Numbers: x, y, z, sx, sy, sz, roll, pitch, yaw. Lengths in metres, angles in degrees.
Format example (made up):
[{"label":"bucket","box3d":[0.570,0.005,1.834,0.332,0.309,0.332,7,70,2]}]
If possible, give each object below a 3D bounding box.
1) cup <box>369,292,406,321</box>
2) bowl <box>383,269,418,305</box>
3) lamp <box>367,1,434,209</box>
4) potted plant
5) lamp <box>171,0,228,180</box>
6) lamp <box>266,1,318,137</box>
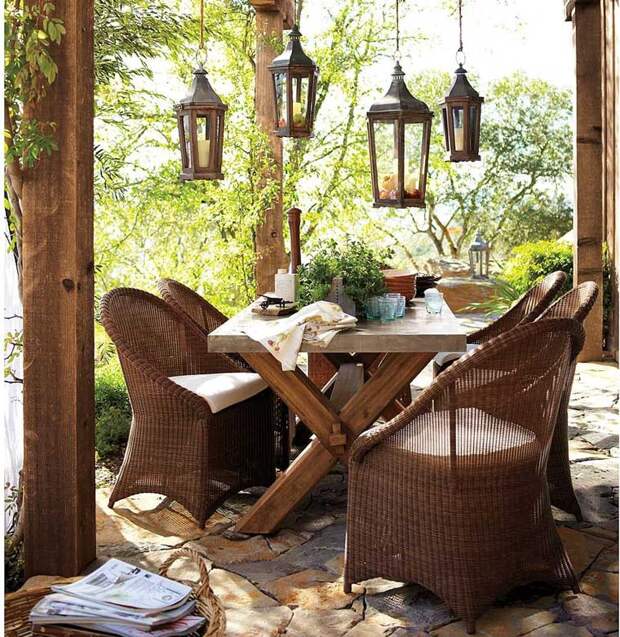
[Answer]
[{"label":"cup","box3d":[0.323,-0.048,2.819,0.117,0.081,0.138,0,1,7]},{"label":"bowl","box3d":[0.460,-0.166,3.398,0.200,0.116,0.187,0,5,0]},{"label":"lamp","box3d":[0.389,-0.812,2.904,0.280,0.656,0.225,-1,8,10]},{"label":"potted plant","box3d":[0.164,-0.218,3.036,0.410,0.301,0.466,2,13,11]},{"label":"lamp","box3d":[-0.513,-0.965,3.155,0.230,0.610,0.189,1,9,23]},{"label":"lamp","box3d":[-0.083,-1.177,3.245,0.235,0.579,0.264,-3,8,-2]}]
